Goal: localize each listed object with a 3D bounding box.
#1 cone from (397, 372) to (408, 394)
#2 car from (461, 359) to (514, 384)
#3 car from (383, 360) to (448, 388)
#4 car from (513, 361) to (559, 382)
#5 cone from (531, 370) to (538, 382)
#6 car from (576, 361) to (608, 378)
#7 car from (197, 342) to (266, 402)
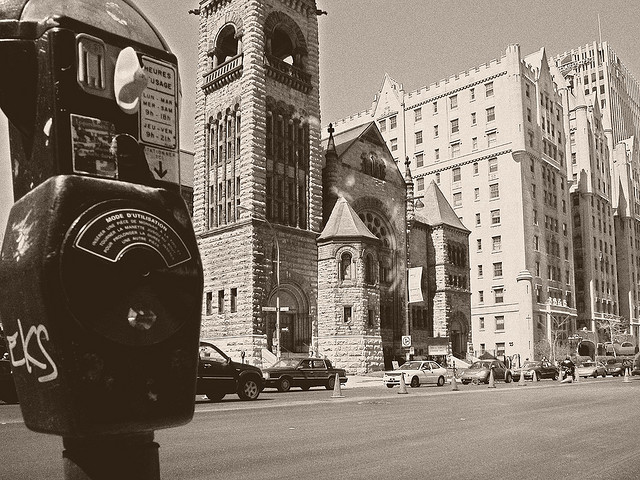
[{"bbox_3d":[2.983,5.265,28.225,0.426,0.805,0.438,-11,-18,41],"label":"cone"},{"bbox_3d":[8.303,6.562,39.213,1.389,1.149,2.481,-22,-28,40],"label":"car"},{"bbox_3d":[4.243,6.082,36.057,1.344,1.120,3.096,-17,-27,38],"label":"car"},{"bbox_3d":[12.534,7.414,44.729,1.412,0.855,2.685,-20,-31,39],"label":"car"},{"bbox_3d":[11.261,7.190,40.803,0.340,0.643,0.351,4,-10,-17],"label":"cone"},{"bbox_3d":[18.598,8.753,53.034,1.019,0.765,2.273,-16,-28,37],"label":"car"},{"bbox_3d":[-2.653,3.560,21.069,2.961,1.440,1.457,4,-11,-35],"label":"car"}]
